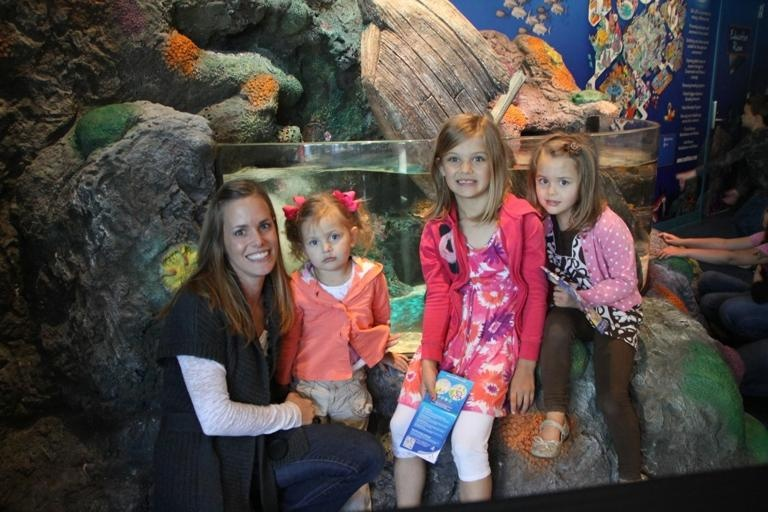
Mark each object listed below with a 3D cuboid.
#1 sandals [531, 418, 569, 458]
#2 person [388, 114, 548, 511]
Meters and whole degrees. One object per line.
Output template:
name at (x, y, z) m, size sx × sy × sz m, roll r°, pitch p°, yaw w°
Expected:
sandals at (0.983, 1.031, 3.315) m, size 0.164 × 0.175 × 0.449 m, roll 8°, pitch 7°, yaw 25°
person at (0.482, 0.297, 3.241) m, size 0.719 × 2.080 × 0.999 m, roll 1°, pitch 20°, yaw 30°
